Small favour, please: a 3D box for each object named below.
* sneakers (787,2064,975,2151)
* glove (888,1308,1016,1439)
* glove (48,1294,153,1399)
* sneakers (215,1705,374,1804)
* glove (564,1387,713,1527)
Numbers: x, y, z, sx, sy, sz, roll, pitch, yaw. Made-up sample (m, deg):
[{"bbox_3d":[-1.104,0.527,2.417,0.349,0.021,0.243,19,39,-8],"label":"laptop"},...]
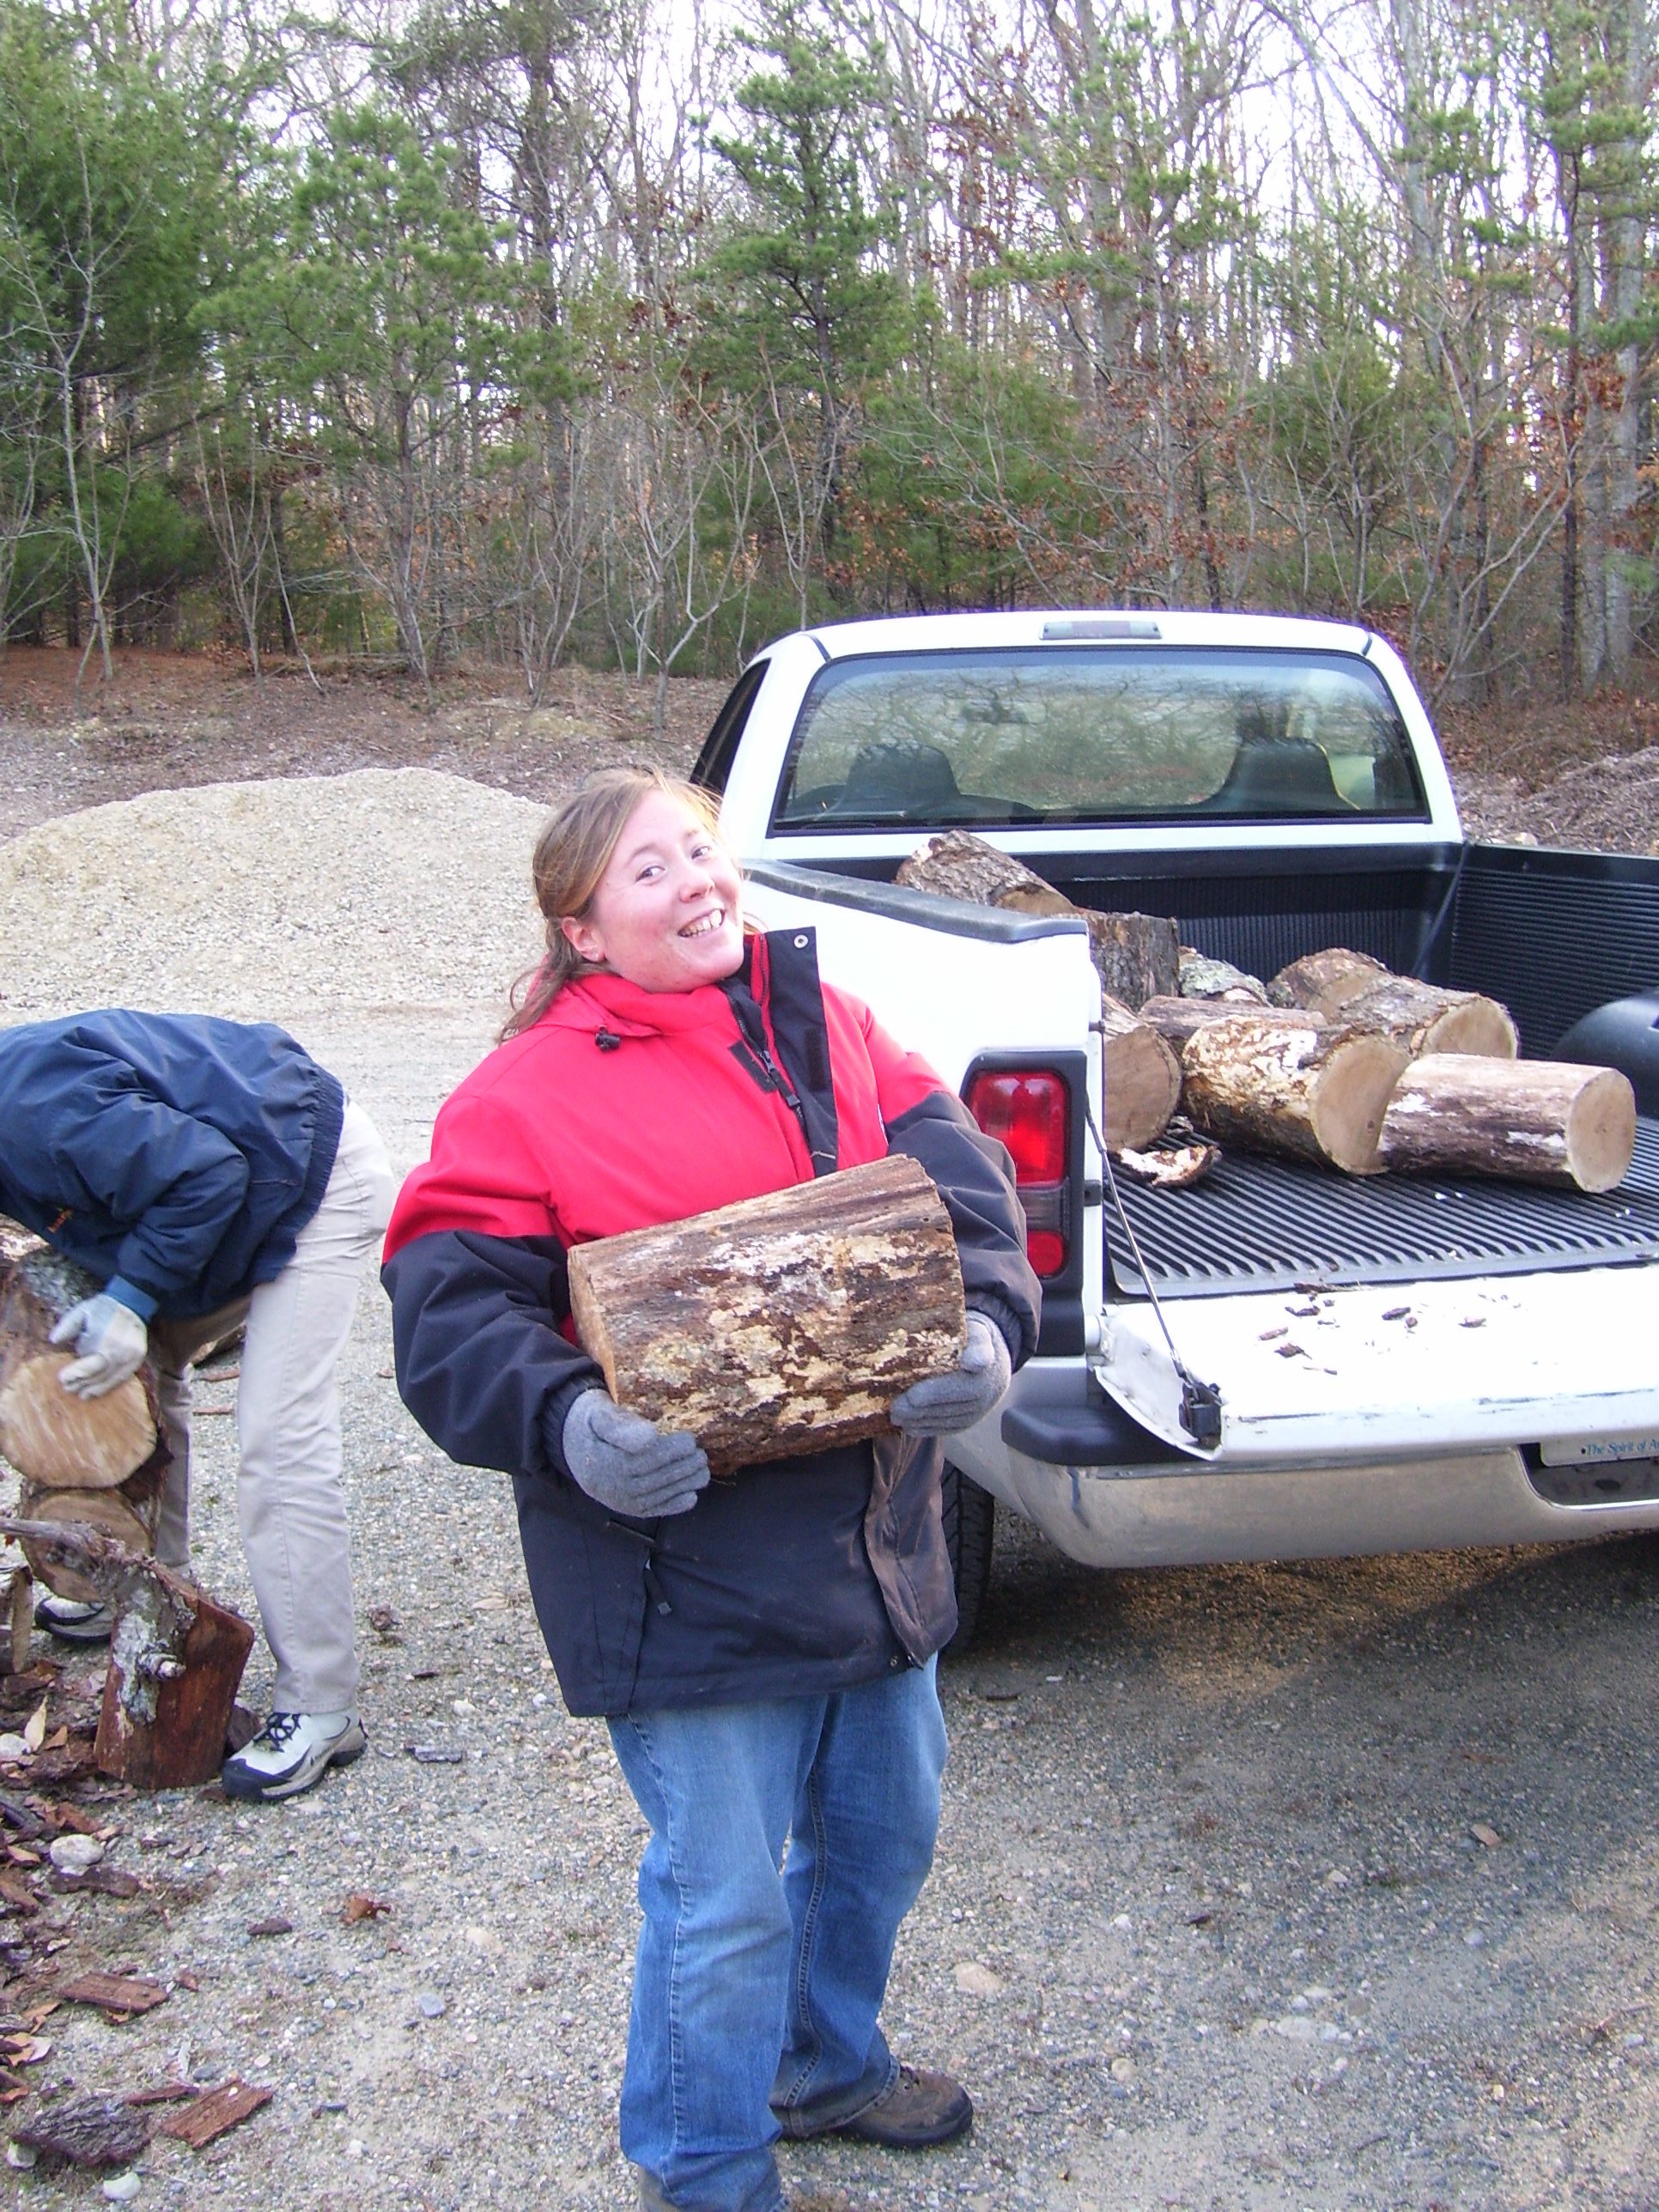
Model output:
[{"bbox_3d":[0.071,1.092,2.166,0.225,0.085,0.073,-8,45,-11],"label":"sneakers"},{"bbox_3d":[0.120,0.239,1.791,0.077,0.094,0.177,7,14,35],"label":"glove"},{"bbox_3d":[-1.027,0.337,2.813,0.102,0.152,0.116,10,16,42],"label":"glove"},{"bbox_3d":[-0.797,0.964,2.995,0.089,0.081,0.198,10,9,43],"label":"sneakers"},{"bbox_3d":[-0.168,0.291,1.649,0.088,0.111,0.104,-39,-5,-16],"label":"glove"}]
